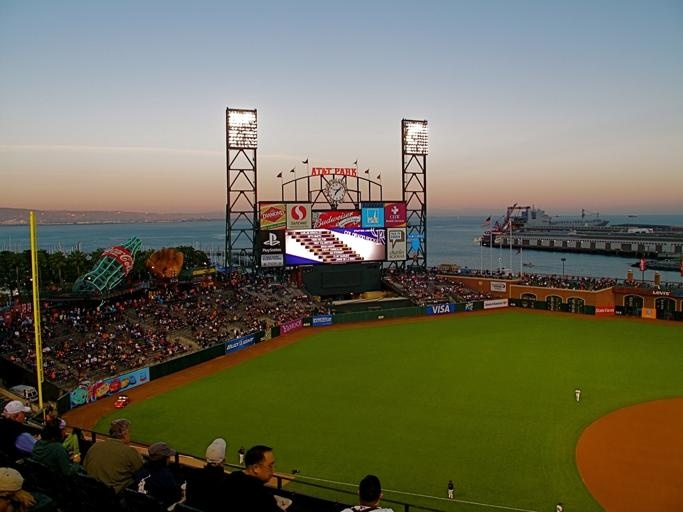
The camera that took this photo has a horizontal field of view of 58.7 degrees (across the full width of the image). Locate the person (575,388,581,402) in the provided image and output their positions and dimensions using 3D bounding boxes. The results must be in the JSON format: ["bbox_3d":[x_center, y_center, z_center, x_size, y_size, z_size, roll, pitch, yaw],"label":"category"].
[{"bbox_3d":[12.996,7.688,33.350,0.253,0.738,0.350,3,-4,27],"label":"person"}]

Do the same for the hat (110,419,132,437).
[{"bbox_3d":[-6.057,4.645,16.588,0.462,0.335,0.577,3,20,-14],"label":"hat"}]

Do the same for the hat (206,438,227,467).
[{"bbox_3d":[-3.293,5.161,15.968,0.449,0.715,0.565,0,13,-4],"label":"hat"}]
